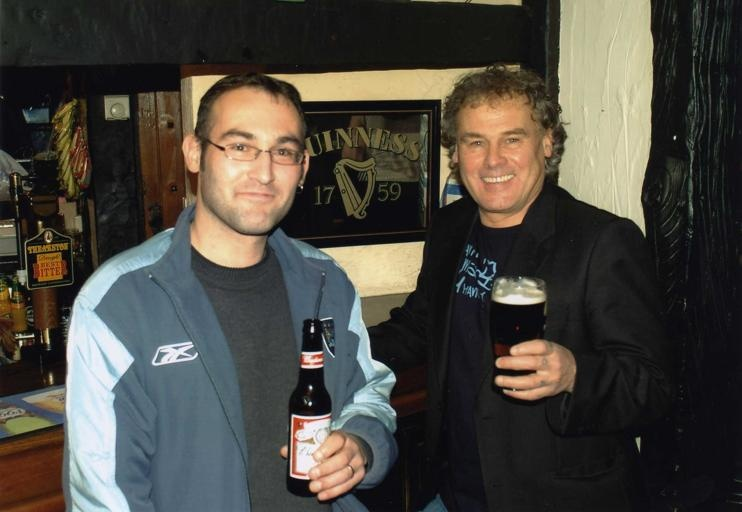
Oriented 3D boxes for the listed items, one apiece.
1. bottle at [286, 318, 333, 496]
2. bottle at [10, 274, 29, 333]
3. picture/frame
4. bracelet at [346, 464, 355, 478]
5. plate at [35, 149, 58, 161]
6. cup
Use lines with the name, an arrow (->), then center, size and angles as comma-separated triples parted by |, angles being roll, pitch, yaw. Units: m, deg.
bottle -> -0.225, 0.519, 2.211 | 0.161, 0.649, 0.170 | -2, 13, 0
bottle -> -1.833, 0.251, 3.303 | 0.079, 0.276, 0.178 | -9, 15, -28
picture/frame -> -0.059, -0.510, 4.099 | 1.290, 0.916, 0.056 | -10, 19, -43
bracelet -> -0.069, 0.755, 2.241 | 0.010, 0.038, 0.036 | -25, 62, -13
plate -> -2.690, -0.827, 5.235 | 0.261, 0.086, 0.120 | 10, 18, 43
cup -> 0.535, 0.230, 2.384 | 0.194, 0.281, 0.210 | -2, 13, 0
